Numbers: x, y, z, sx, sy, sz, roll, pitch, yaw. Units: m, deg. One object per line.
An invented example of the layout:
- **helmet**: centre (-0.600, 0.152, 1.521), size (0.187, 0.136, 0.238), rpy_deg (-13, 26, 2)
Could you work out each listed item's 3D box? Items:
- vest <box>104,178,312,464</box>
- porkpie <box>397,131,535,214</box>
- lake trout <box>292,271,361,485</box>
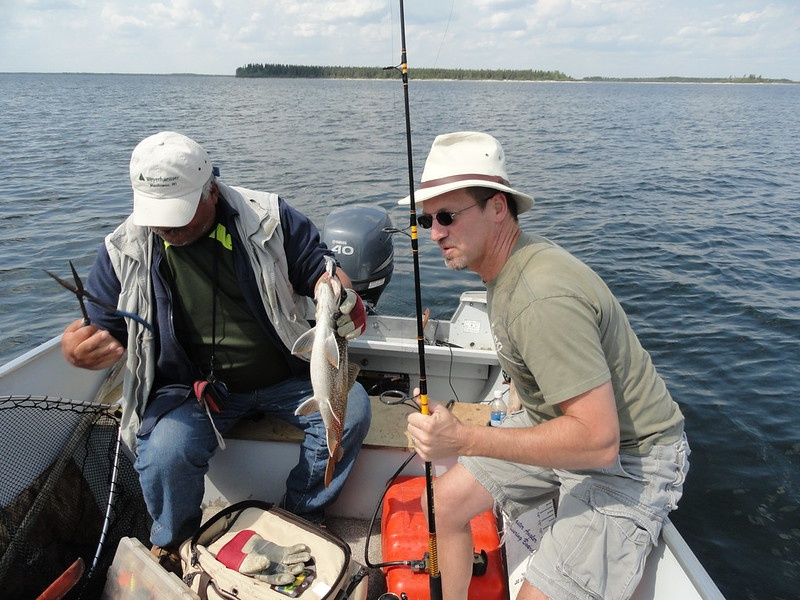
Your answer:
- **vest**: centre (-1.188, 0.155, 3.813), size (1.109, 1.377, 0.764), rpy_deg (-23, 30, -8)
- **porkpie**: centre (0.355, -0.677, 3.268), size (0.683, 0.409, 0.661), rpy_deg (3, 3, 11)
- **lake trout**: centre (-0.367, 0.532, 3.500), size (0.358, 1.571, 0.321), rpy_deg (-20, 40, -29)
